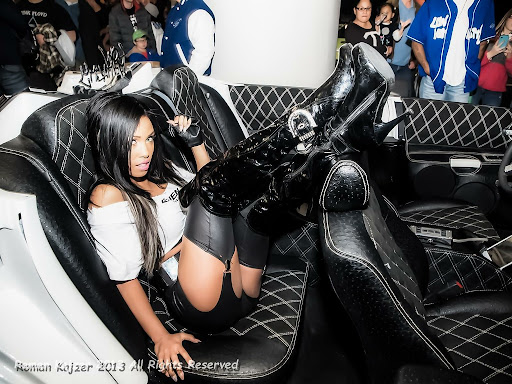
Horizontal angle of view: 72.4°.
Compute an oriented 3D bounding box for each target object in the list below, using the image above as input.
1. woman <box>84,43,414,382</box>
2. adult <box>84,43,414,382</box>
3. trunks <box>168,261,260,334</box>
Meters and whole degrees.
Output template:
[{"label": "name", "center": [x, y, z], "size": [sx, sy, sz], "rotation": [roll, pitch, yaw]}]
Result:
[{"label": "woman", "center": [-0.074, 0.036, 1.484], "size": [1.140, 0.997, 0.903], "rotation": [-7, 23, 9]}, {"label": "adult", "center": [-0.072, -0.008, 1.490], "size": [1.140, 0.997, 0.903], "rotation": [-7, 23, 9]}, {"label": "trunks", "center": [-0.168, 0.379, 1.263], "size": [0.189, 0.131, 0.272], "rotation": [-1, -5, -20]}]
